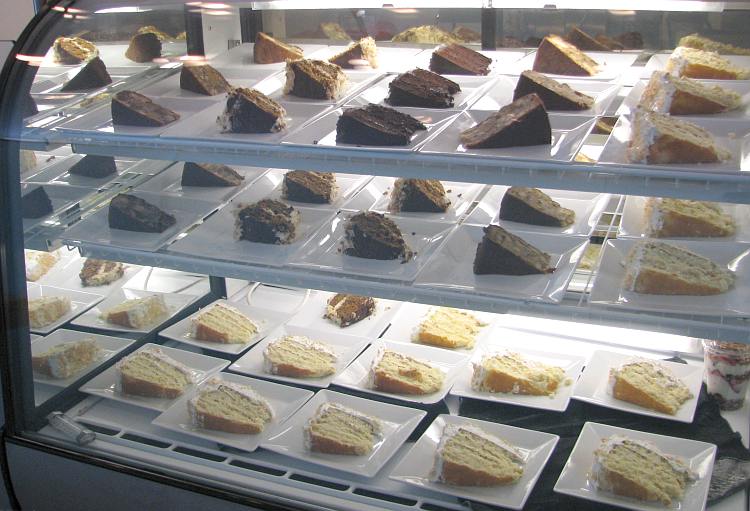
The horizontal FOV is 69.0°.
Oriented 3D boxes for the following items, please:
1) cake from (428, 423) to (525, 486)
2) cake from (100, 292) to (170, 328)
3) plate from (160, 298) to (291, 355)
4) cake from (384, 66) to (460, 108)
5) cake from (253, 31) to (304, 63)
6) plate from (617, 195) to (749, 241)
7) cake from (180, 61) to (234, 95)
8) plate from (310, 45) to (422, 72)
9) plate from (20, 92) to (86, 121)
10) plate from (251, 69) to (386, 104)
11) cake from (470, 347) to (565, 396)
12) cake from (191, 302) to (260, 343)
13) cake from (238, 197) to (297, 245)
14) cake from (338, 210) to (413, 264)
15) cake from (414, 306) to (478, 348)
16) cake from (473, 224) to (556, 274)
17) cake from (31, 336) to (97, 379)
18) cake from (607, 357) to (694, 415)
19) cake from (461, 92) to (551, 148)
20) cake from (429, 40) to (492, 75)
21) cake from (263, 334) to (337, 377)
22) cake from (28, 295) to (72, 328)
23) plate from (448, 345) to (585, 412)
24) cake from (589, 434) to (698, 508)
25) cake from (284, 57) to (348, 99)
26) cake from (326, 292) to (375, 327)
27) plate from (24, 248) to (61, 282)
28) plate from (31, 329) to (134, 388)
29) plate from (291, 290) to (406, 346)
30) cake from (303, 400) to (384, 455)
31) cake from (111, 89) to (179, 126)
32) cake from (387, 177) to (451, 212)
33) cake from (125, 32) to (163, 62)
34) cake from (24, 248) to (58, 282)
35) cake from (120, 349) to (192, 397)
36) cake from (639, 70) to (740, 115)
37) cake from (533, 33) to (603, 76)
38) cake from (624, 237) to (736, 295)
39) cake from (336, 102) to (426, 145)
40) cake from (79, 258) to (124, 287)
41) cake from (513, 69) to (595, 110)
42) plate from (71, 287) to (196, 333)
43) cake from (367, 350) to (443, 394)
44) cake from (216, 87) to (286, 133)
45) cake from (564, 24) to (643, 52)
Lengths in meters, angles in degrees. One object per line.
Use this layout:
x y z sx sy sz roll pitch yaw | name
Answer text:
0.339 0.673 1.908 0.344 0.311 0.067 -3 -70 -19 | cake
-1.105 0.262 2.579 0.289 0.255 0.061 -8 -81 -12 | cake
-0.630 0.341 2.512 0.382 0.319 0.039 10 -67 26 | plate
0.163 -0.556 1.843 0.220 0.146 0.057 8 -49 12 | cake
-0.366 -0.812 2.118 0.184 0.086 0.139 2 -61 17 | cake
1.016 -0.110 1.809 0.321 0.193 0.033 3 -60 8 | plate
-0.626 -0.652 2.024 0.203 0.150 0.071 9 -48 13 | cake
-0.001 -0.737 2.055 0.286 0.162 0.032 3 -57 8 | plate
-1.107 -0.507 1.883 0.124 0.155 0.044 3 -74 -7 | plate
-0.139 -0.629 1.965 0.320 0.252 0.034 6 -61 16 | plate
0.544 0.450 2.101 0.228 0.205 0.039 4 -79 19 | cake
-0.705 0.315 2.557 0.291 0.283 0.068 -7 -60 -32 | cake
-0.401 -0.128 2.018 0.258 0.189 0.095 6 -49 15 | cake
0.002 -0.062 1.886 0.183 0.212 0.063 -3 -74 -14 | cake
0.311 0.321 2.372 0.253 0.219 0.052 8 -63 15 | cake
0.434 -0.007 1.760 0.279 0.118 0.105 13 -30 5 | cake
-1.297 0.416 2.313 0.188 0.283 0.077 2 -79 7 | cake
1.034 0.477 2.052 0.287 0.291 0.069 12 -70 22 | cake
0.396 -0.381 1.618 0.262 0.180 0.072 -11 -61 1 | cake
0.307 -0.700 1.976 0.194 0.154 0.049 10 -53 12 | cake
-0.305 0.433 2.321 0.225 0.163 0.045 7 -71 -3 | cake
-1.277 0.221 2.154 0.150 0.222 0.056 0 -76 -12 | cake
0.541 0.453 2.175 0.471 0.432 0.069 12 -72 18 | plate
0.853 0.668 1.732 0.241 0.194 0.054 4 -66 29 | cake
-0.215 -0.615 1.962 0.210 0.175 0.081 8 -68 2 | cake
-0.117 0.244 2.527 0.207 0.210 0.055 9 -65 27 | cake
-1.274 0.035 2.113 0.033 0.116 0.096 21 -77 22 | plate
-1.290 0.425 2.265 0.458 0.524 0.084 1 -87 51 | plate
-0.140 0.249 2.606 0.505 0.474 0.028 10 -76 35 | plate
-0.115 0.615 1.992 0.203 0.170 0.045 6 -70 11 | cake
-0.783 -0.498 1.853 0.245 0.116 0.070 5 -60 6 | cake
0.172 -0.218 2.083 0.192 0.167 0.051 2 -65 6 | cake
-0.880 -0.783 2.124 0.117 0.131 0.099 -16 -95 49 | cake
-1.276 0.037 2.112 0.129 0.099 0.028 11 -49 -3 | cake
-0.904 0.485 2.261 0.225 0.187 0.056 8 -70 0 | cake
0.914 -0.465 1.617 0.272 0.158 0.071 3 -65 12 | cake
0.639 -0.693 1.915 0.289 0.153 0.086 -9 -45 -28 | cake
0.884 0.022 1.605 0.254 0.162 0.058 2 -56 20 | cake
0.020 -0.418 1.744 0.250 0.254 0.073 15 -59 19 | cake
-1.206 0.080 2.429 0.185 0.155 0.033 8 -67 10 | cake
0.544 -0.512 1.768 0.266 0.123 0.096 17 -62 7 | cake
-1.088 0.256 2.500 0.273 0.264 0.053 3 -69 14 | plate
0.127 0.467 2.175 0.247 0.169 0.065 4 -63 12 | cake
-0.396 -0.466 1.774 0.219 0.144 0.063 19 -49 33 | cake
0.781 -0.738 1.877 0.184 0.110 0.044 2 -61 5 | cake
